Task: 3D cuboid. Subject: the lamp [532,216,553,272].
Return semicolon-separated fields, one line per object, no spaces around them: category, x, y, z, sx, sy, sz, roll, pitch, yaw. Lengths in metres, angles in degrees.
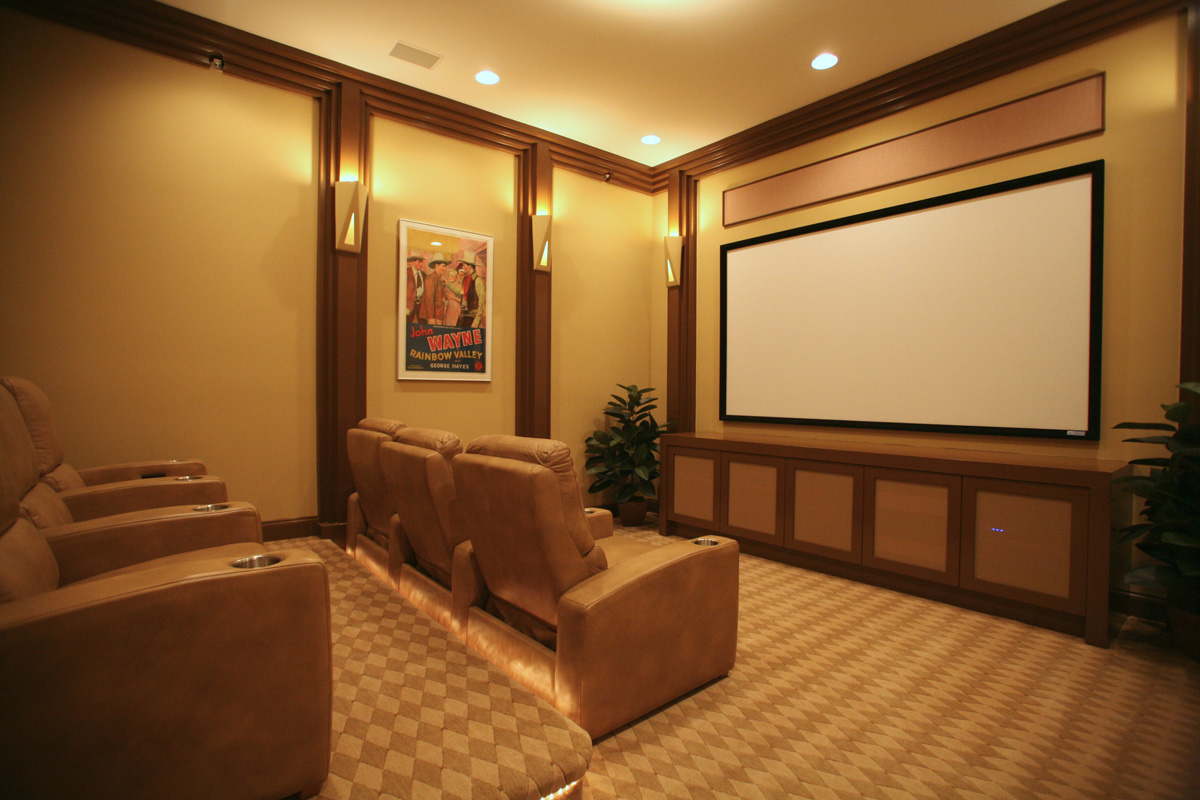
lamp;-0.538;-1.471;7.573;0.132;0.517;0.254;0;-1;31

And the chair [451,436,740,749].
chair;-0.092;0.931;4.998;1.341;1.533;1.651;-6;6;-30

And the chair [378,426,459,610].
chair;-1.099;0.664;4.910;0.326;0.969;0.716;-2;6;-35

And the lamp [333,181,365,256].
lamp;-2.027;-1.496;6.549;0.277;0.559;0.153;5;-2;-35

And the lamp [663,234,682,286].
lamp;0.723;-1.426;8.154;0.145;0.551;0.186;-1;6;-26

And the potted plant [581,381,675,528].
potted plant;0.305;0.427;7.912;0.582;1.189;0.739;-10;20;-43
